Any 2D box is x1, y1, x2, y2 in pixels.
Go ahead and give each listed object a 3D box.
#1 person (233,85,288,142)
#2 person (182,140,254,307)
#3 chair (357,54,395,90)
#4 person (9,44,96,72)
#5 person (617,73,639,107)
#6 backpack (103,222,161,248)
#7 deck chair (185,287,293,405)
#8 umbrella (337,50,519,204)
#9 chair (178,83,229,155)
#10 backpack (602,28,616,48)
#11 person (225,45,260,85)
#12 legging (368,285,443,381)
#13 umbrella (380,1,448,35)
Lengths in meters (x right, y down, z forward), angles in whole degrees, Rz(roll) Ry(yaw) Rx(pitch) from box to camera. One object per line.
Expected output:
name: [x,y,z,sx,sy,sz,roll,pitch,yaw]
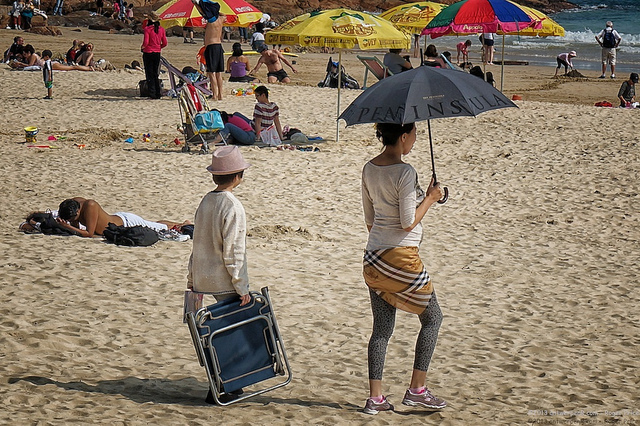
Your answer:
person: [-1.242,-2.004,18.818,0.911,1.174,0.647,0,20,-2]
person: [-1.256,0.194,11.191,0.806,1.833,0.713,-2,21,-7]
chair: [1.505,-3.502,23.327,1.242,0.608,0.778,4,6,-38]
person: [-7.113,-4.136,25.569,2.508,0.719,0.689,8,1,38]
person: [7.957,-3.222,24.020,0.392,0.899,2.200,8,19,19]
backpack: [-2.952,0.372,14.497,0.632,0.184,0.423,5,16,-29]
deck chair: [-1.010,1.590,11.255,1.508,1.367,0.565,-16,4,-10]
umbrella: [1.376,-1.042,11.961,2.310,1.469,1.858,-9,16,2]
chair: [-2.398,-1.896,18.619,0.953,1.139,0.829,12,22,27]
backpack: [9.039,-5.472,29.087,0.406,0.604,0.600,7,20,16]
person: [-2.183,-4.065,25.597,1.064,0.956,0.958,0,6,-22]
legging: [1.044,1.540,11.613,0.793,1.966,0.521,20,58,11]
umbrella: [2.509,-5.499,25.801,1.607,0.438,1.426,4,20,18]
